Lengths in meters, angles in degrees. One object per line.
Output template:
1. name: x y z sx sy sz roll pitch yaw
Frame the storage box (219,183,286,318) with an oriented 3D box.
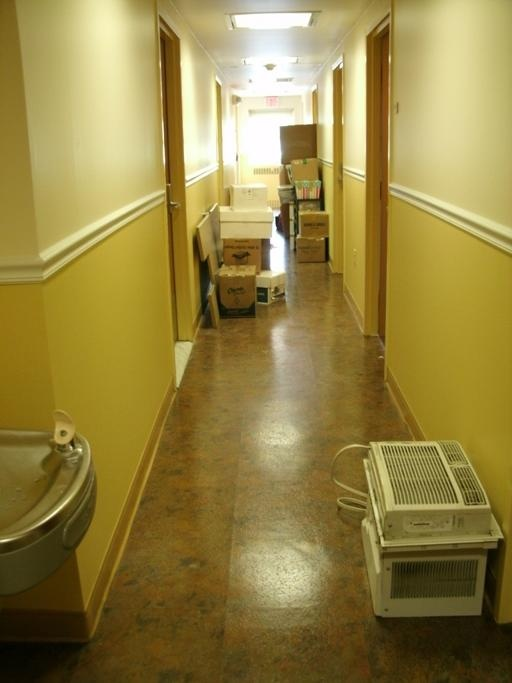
1. storage box: -0.049 -1.058 5.619 0.761 1.393 1.177 0 10 3

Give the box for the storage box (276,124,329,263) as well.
1. storage box: 0.776 -2.554 8.583 0.736 2.324 2.111 -1 10 1
